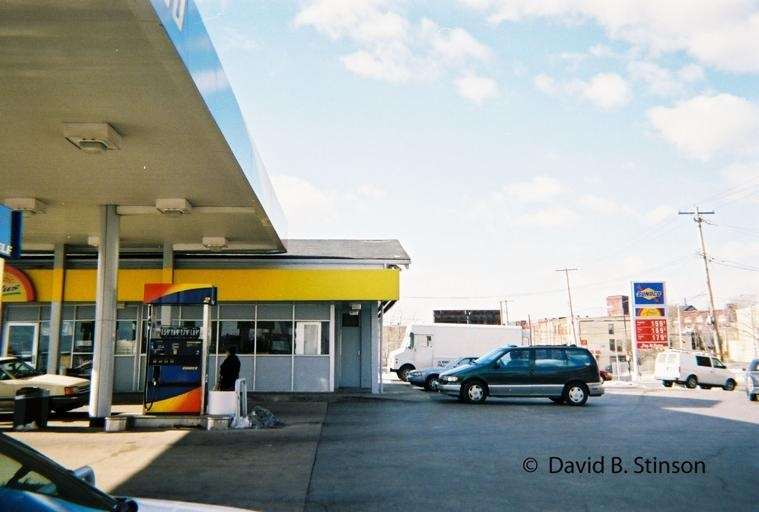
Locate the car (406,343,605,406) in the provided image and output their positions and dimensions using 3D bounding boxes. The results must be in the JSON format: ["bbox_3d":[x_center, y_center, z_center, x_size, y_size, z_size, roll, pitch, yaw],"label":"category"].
[{"bbox_3d":[5.185,4.356,21.251,5.588,1.698,2.339,1,-11,0],"label":"car"}]

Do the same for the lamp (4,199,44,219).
[{"bbox_3d":[-10.584,-1.508,17.004,0.857,0.458,1.033,-4,-9,31],"label":"lamp"}]

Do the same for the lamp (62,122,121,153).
[{"bbox_3d":[-6.196,-2.581,12.225,0.797,0.362,0.748,-2,-8,2],"label":"lamp"}]

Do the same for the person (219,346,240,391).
[{"bbox_3d":[-4.420,3.267,16.662,0.562,1.233,2.254,3,-8,-15],"label":"person"}]

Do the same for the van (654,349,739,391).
[{"bbox_3d":[19.020,6.589,33.548,4.451,1.647,2.277,1,-6,-14],"label":"van"}]

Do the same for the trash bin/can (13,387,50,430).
[{"bbox_3d":[-8.971,3.886,14.526,0.541,1.054,0.979,0,-8,9],"label":"trash bin/can"}]

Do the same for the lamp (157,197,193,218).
[{"bbox_3d":[-6.164,-1.509,16.932,1.027,0.416,0.787,3,-8,-15],"label":"lamp"}]
